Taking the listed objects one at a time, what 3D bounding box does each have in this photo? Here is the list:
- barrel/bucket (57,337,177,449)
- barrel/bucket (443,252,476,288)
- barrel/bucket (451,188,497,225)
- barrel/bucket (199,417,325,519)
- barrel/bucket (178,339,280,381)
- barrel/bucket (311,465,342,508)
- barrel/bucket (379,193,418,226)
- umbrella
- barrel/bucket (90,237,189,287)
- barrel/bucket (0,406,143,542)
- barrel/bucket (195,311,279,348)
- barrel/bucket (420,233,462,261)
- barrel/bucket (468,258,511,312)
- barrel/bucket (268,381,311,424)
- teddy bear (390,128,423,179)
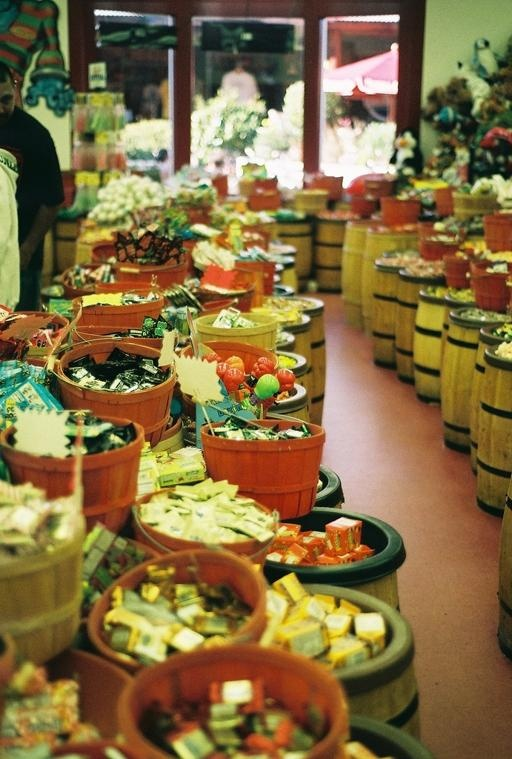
[{"bbox_3d":[-0.389,0.009,1.729,0.334,0.206,0.324,2,25,-1],"label":"barrel/bucket"},{"bbox_3d":[1.555,-0.840,4.880,0.234,0.238,0.253,-2,13,0],"label":"barrel/bucket"},{"bbox_3d":[2.151,-1.718,6.182,0.445,0.305,0.202,12,20,42],"label":"barrel/bucket"},{"bbox_3d":[0.011,0.243,1.750,0.306,0.203,0.283,0,14,0],"label":"barrel/bucket"},{"bbox_3d":[-0.086,-0.057,2.288,0.320,0.136,0.415,-1,14,0],"label":"barrel/bucket"},{"bbox_3d":[0.245,0.378,2.090,0.127,0.115,0.124,0,19,0],"label":"barrel/bucket"},{"bbox_3d":[1.662,-1.983,7.261,0.376,0.266,0.370,-1,17,0],"label":"barrel/bucket"},{"bbox_3d":[1.630,-4.510,9.505,0.966,0.501,0.983,6,42,18],"label":"umbrella"},{"bbox_3d":[-0.531,-0.596,3.278,0.300,0.220,0.306,-2,12,0],"label":"barrel/bucket"},{"bbox_3d":[-0.323,0.197,1.225,0.258,0.186,0.234,1,24,-1],"label":"barrel/bucket"},{"bbox_3d":[-0.080,-0.207,2.606,0.232,0.161,0.219,0,17,0],"label":"barrel/bucket"},{"bbox_3d":[1.699,-1.225,5.793,0.340,0.235,0.429,1,14,8],"label":"barrel/bucket"},{"bbox_3d":[1.499,-0.619,4.099,0.285,0.288,0.299,-3,18,1],"label":"barrel/bucket"},{"bbox_3d":[0.160,0.105,2.610,0.156,0.144,0.147,-2,17,1],"label":"barrel/bucket"},{"bbox_3d":[2.050,-3.067,8.455,0.437,0.615,0.309,2,15,10],"label":"teddy bear"}]
